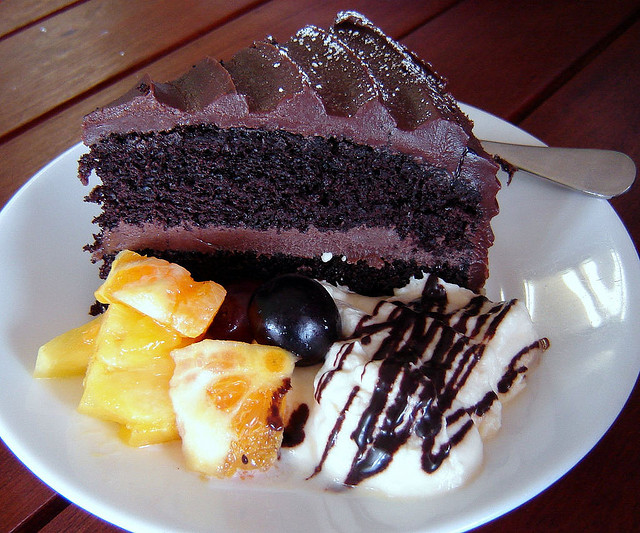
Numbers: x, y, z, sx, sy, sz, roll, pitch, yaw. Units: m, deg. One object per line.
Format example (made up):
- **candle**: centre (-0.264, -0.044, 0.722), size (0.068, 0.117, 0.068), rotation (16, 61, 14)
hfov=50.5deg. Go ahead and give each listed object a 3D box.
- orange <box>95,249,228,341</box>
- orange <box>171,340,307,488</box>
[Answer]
- **orange**: centre (-0.409, 0.105, 1.726), size (0.390, 0.107, 0.190), rotation (17, 70, -2)
- **orange**: centre (-0.237, 0.348, 1.621), size (0.272, 0.082, 0.333), rotation (16, 83, 2)
